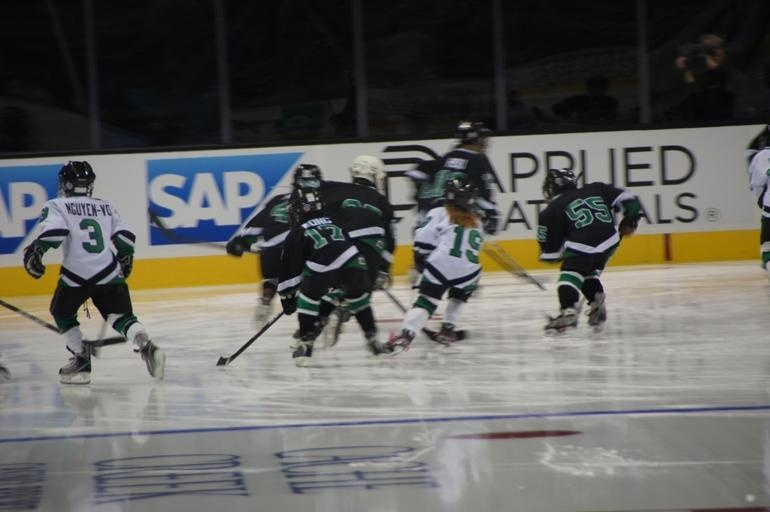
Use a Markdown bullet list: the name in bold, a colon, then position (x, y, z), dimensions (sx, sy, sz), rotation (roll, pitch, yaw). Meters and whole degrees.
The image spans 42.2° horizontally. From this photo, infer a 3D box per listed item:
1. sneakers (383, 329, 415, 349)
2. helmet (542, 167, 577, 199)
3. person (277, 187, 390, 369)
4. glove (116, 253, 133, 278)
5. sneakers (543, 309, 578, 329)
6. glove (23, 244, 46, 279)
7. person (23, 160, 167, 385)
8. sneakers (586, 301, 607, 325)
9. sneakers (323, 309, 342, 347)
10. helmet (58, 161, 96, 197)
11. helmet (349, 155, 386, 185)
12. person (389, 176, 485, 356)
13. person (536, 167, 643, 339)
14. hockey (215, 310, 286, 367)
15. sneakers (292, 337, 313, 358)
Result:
- **sneakers**: position (0.135, 0.713, 8.426), dimensions (0.322, 0.113, 0.138), rotation (-23, -21, 25)
- **helmet**: position (1.694, -0.703, 9.321), dimensions (0.291, 0.279, 0.327), rotation (5, -7, -32)
- **person**: position (-0.500, 0.133, 8.394), dimensions (0.807, 1.422, 0.576), rotation (-5, 7, -22)
- **glove**: position (-2.137, 0.068, 8.150), dimensions (0.183, 0.182, 0.079), rotation (0, -2, -10)
- **sneakers**: position (1.570, 0.562, 8.850), dimensions (0.324, 0.214, 0.207), rotation (-3, 6, -13)
- **glove**: position (-2.812, 0.028, 7.967), dimensions (0.141, 0.290, 0.326), rotation (-4, 6, -18)
- **person**: position (-2.337, 0.122, 7.972), dimensions (1.070, 1.771, 0.570), rotation (-2, 7, 0)
- **sneakers**: position (1.904, 0.516, 8.973), dimensions (0.160, 0.230, 0.211), rotation (-1, 6, 11)
- **sneakers**: position (-0.452, 0.614, 8.699), dimensions (0.095, 0.311, 0.185), rotation (0, 26, -28)
- **helmet**: position (-2.549, -0.650, 8.164), dimensions (0.307, 0.267, 0.322), rotation (-1, 12, -18)
- **helmet**: position (-0.179, -0.806, 9.169), dimensions (0.309, 0.245, 0.310), rotation (3, 7, 14)
- **person**: position (0.459, 0.053, 8.619), dimensions (0.998, 1.463, 0.451), rotation (-7, 9, -40)
- **person**: position (1.838, -0.070, 9.011), dimensions (0.926, 1.435, 0.776), rotation (-1, 7, 11)
- **hockey**: position (-1.210, 0.754, 8.978), dimensions (0.802, 0.093, 0.080), rotation (-29, -20, -2)
- **sneakers**: position (-0.675, 0.747, 8.194), dimensions (0.167, 0.168, 0.199), rotation (-2, 6, 3)
